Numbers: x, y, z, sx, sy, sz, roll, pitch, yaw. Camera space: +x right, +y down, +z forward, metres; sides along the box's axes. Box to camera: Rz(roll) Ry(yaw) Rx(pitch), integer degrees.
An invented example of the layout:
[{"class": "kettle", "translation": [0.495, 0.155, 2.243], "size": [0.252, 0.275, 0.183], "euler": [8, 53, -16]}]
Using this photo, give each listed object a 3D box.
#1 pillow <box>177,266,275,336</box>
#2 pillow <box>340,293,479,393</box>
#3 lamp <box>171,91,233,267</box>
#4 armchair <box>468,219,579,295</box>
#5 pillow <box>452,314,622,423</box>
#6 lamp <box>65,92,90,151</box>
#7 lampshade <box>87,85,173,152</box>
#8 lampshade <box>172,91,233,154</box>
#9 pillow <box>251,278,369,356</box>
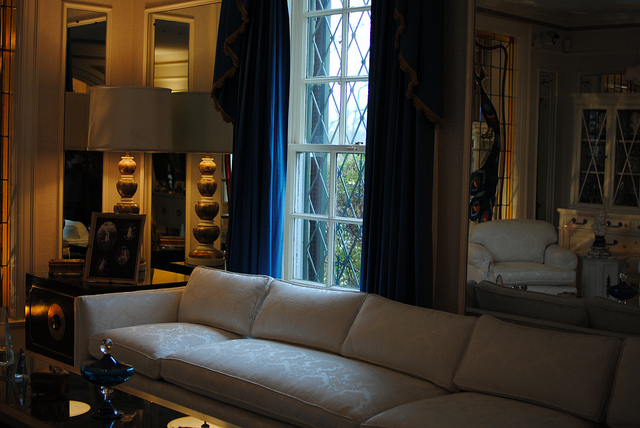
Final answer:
[{"class": "pillow", "translation": [-0.747, 0.662, 4.257], "size": [0.706, 0.471, 0.285], "euler": [3, -10, 24]}, {"class": "pillow", "translation": [0.550, 0.788, 3.387], "size": [0.713, 0.487, 0.198], "euler": [14, -7, 34]}, {"class": "lamp", "translation": [-1.012, -0.311, 5.048], "size": [0.614, 1.505, 0.649], "euler": [0, 2, 6]}, {"class": "armchair", "translation": [1.299, 0.335, 3.663], "size": [0.651, 0.576, 0.514], "euler": [-1, 4, 12]}, {"class": "pillow", "translation": [1.173, 0.833, 3.093], "size": [0.820, 0.441, 0.248], "euler": [2, 2, 31]}, {"class": "lamp", "translation": [-2.242, -0.887, 5.206], "size": [0.208, 0.424, 0.218], "euler": [10, 4, -24]}, {"class": "lampshade", "translation": [-1.543, -0.739, 4.582], "size": [0.556, 0.419, 0.530], "euler": [4, -3, -41]}, {"class": "lampshade", "translation": [-1.030, -0.715, 4.928], "size": [0.490, 0.599, 0.512], "euler": [1, 0, -13]}, {"class": "pillow", "translation": [-0.088, 0.691, 3.779], "size": [0.634, 0.447, 0.184], "euler": [7, -18, 33]}]
